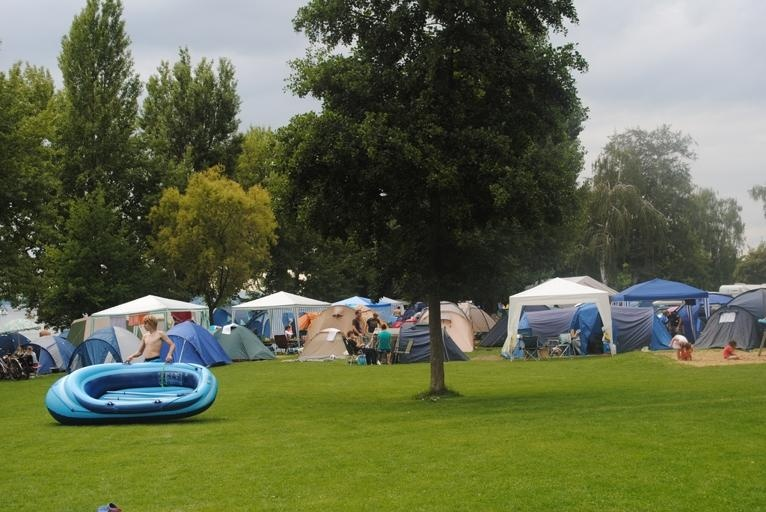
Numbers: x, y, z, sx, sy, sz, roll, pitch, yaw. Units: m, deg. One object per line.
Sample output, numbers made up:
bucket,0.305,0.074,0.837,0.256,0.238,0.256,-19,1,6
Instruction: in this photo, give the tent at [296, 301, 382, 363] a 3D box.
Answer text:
tent,-2.065,3.810,41.199,3.582,2.637,2.717,0,4,41

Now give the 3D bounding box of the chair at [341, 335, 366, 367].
chair,-1.276,4.297,37.845,1.117,1.298,0.925,3,-1,-3

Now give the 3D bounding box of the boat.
boat,-6.857,3.798,23.032,4.126,1.400,1.032,6,-4,-6

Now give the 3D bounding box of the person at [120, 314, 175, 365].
person,-6.521,2.820,23.830,1.483,2.152,0.614,-3,-6,14

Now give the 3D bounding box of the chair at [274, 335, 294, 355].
chair,-5.377,4.848,46.274,0.807,0.682,1.217,3,-6,32
